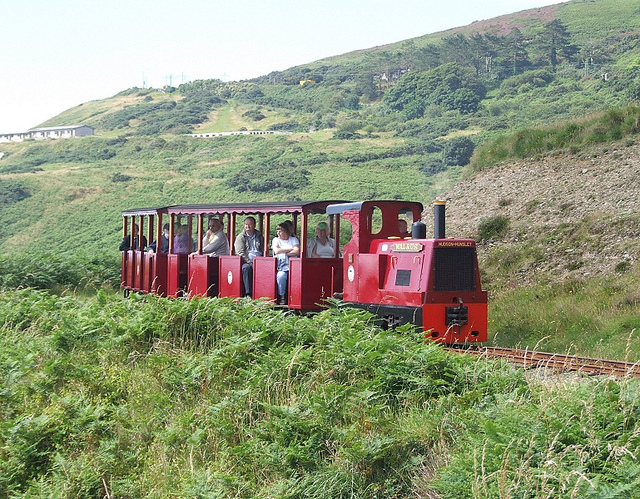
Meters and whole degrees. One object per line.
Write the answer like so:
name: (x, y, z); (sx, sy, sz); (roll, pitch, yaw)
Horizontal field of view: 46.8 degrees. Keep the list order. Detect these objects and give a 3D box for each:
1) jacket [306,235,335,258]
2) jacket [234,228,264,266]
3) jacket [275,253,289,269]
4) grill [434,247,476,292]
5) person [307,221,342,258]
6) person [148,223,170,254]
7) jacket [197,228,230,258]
jacket: (0.019, 0.092, 18.009); (0.727, 0.710, 0.469); (0, 8, -4)
jacket: (-1.614, -0.119, 19.050); (0.675, 0.837, 0.553); (0, 2, 27)
jacket: (-0.913, 0.254, 17.960); (0.268, 0.584, 0.427); (-2, 2, 0)
grill: (2.944, 0.507, 16.129); (1.019, 1.132, 0.661); (1, -17, 4)
person: (0.087, -0.091, 18.229); (0.869, 1.183, 0.701); (-1, -8, 7)
person: (-4.839, -0.281, 22.782); (0.753, 0.913, 0.895); (2, -17, -8)
jacket: (-2.845, -0.170, 19.933); (0.738, 0.859, 0.634); (2, -3, 4)
